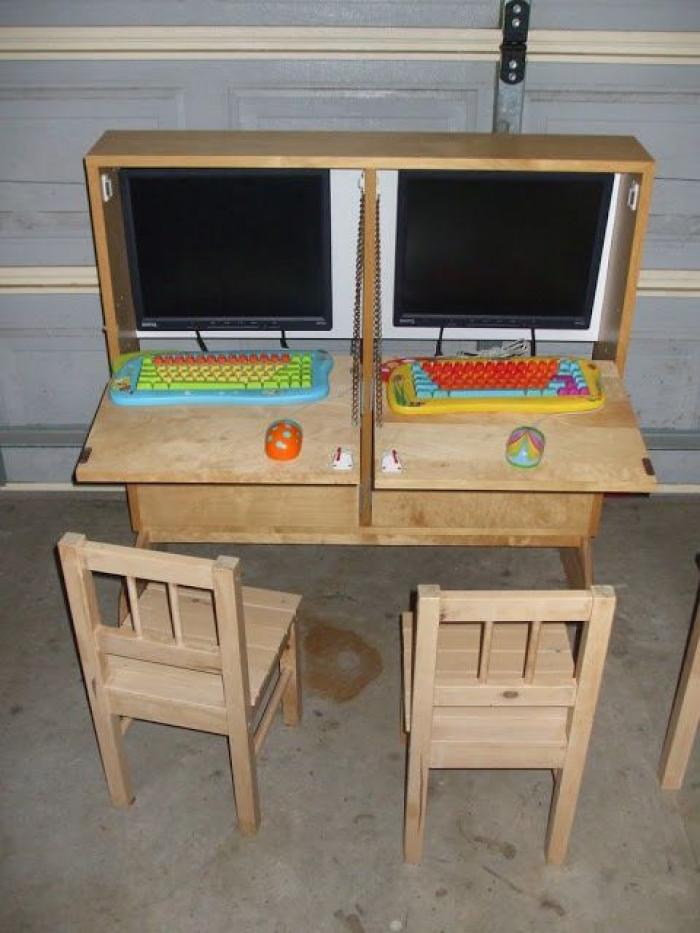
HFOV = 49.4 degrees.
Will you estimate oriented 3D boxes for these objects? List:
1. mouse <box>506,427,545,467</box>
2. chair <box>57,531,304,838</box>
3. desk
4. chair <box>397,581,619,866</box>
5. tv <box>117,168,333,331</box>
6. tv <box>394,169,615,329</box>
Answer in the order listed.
[{"bbox_3d":[0.345,-0.047,1.501,0.076,0.070,0.074,-10,23,-24],"label":"mouse"},{"bbox_3d":[-0.289,0.344,1.429,0.437,0.611,0.414,-13,31,-27],"label":"chair"},{"bbox_3d":[0.066,-0.255,2.207,1.489,1.143,0.777,1,12,3],"label":"desk"},{"bbox_3d":[0.265,0.415,1.372,0.348,0.764,0.295,2,34,1],"label":"chair"},{"bbox_3d":[-0.316,-0.545,1.839,0.468,0.377,0.048,-1,39,-1],"label":"tv"},{"bbox_3d":[0.369,-0.541,1.825,0.477,0.378,0.033,0,41,-1],"label":"tv"}]
